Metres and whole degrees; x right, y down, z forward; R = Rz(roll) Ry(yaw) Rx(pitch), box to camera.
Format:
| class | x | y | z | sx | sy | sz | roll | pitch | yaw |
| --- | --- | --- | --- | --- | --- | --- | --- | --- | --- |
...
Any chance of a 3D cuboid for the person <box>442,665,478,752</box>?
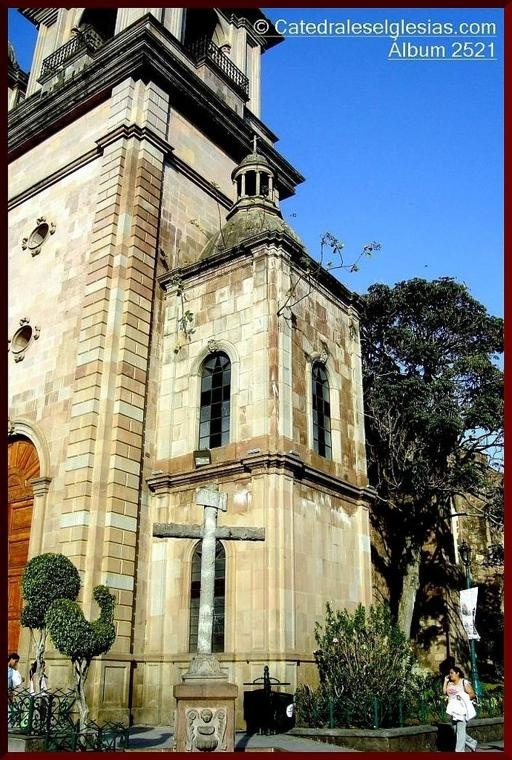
| class | x | y | z | sx | sy | sz | roll | pitch | yaw |
| --- | --- | --- | --- | --- | --- | --- | --- | --- | --- |
| person | 3.514 | 5.733 | 9.904 | 0.520 | 1.406 | 2.010 | -6 | -22 | 17 |

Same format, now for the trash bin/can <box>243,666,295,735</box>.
| class | x | y | z | sx | sy | sz | roll | pitch | yaw |
| --- | --- | --- | --- | --- | --- | --- | --- | --- | --- |
| trash bin/can | 0.278 | 6.349 | 11.345 | 1.097 | 1.545 | 0.858 | 2 | -31 | -3 |

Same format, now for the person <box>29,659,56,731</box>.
| class | x | y | z | sx | sy | sz | roll | pitch | yaw |
| --- | --- | --- | --- | --- | --- | --- | --- | --- | --- |
| person | -3.694 | 5.307 | 9.755 | 0.329 | 1.174 | 0.403 | -34 | -41 | 18 |

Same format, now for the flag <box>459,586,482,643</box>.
| class | x | y | z | sx | sy | sz | roll | pitch | yaw |
| --- | --- | --- | --- | --- | --- | --- | --- | --- | --- |
| flag | 6.473 | 7.136 | 17.482 | 0.503 | 1.561 | 3.820 | -6 | -22 | 18 |
